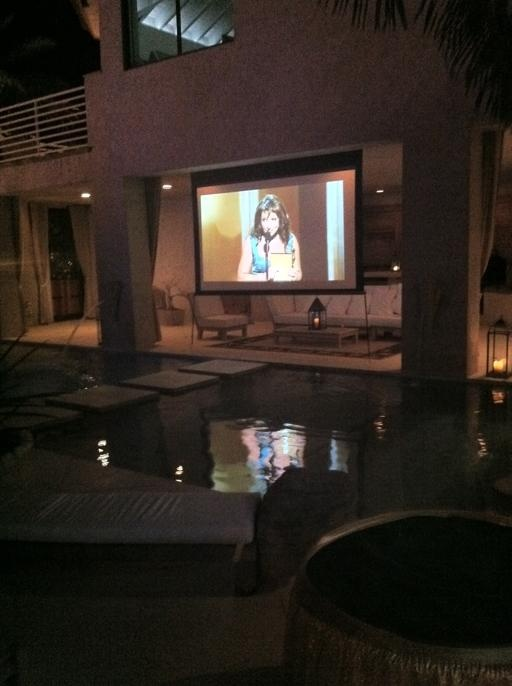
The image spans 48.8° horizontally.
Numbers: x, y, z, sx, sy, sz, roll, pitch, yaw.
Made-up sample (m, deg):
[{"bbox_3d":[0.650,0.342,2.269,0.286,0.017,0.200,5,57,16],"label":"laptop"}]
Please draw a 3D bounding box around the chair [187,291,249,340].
[{"bbox_3d":[-0.592,-0.425,9.005,0.740,0.834,0.823,9,6,24],"label":"chair"}]

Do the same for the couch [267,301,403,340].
[{"bbox_3d":[1.381,-0.445,8.616,2.294,0.709,0.843,3,7,25],"label":"couch"}]

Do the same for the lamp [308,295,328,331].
[{"bbox_3d":[0.864,-0.442,8.048,0.250,0.438,0.540,-1,7,7],"label":"lamp"}]

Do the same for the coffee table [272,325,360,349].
[{"bbox_3d":[0.879,-0.153,8.143,1.181,0.317,0.881,3,10,23],"label":"coffee table"}]
